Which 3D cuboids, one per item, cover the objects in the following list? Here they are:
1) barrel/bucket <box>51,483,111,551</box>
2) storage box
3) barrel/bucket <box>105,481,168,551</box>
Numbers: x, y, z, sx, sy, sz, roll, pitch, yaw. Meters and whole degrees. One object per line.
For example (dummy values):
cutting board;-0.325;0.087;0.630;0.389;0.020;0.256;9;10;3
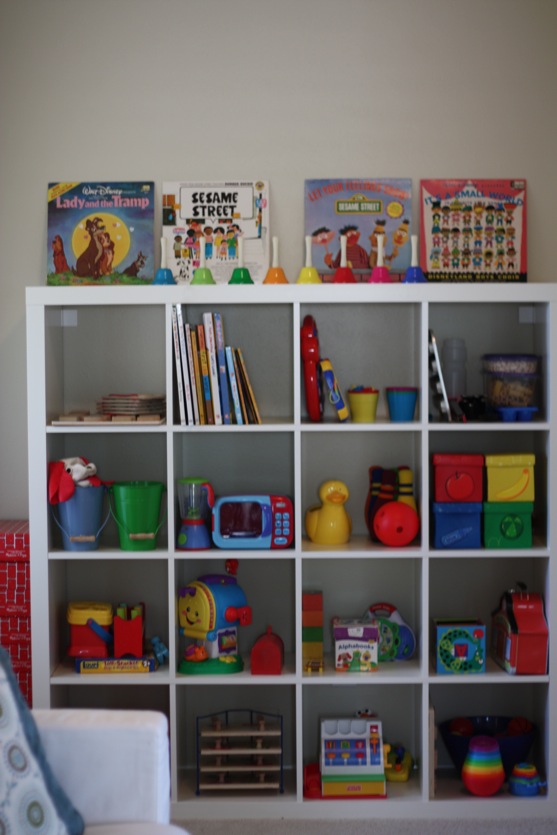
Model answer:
barrel/bucket;-0.555;0.279;2.206;0.157;0.187;0.155;-1;-5;0
storage box;0.561;0.214;2.210;0.270;0.305;0.240;0;-1;-1
barrel/bucket;-0.395;0.267;2.256;0.155;0.191;0.171;-1;-2;40
